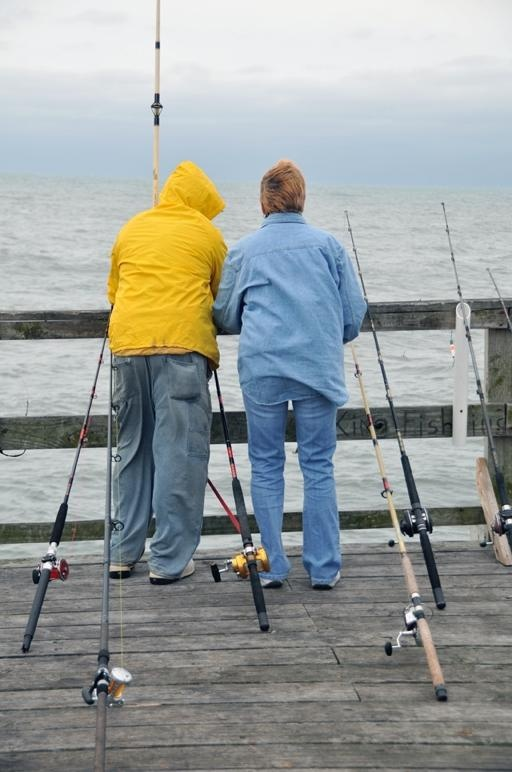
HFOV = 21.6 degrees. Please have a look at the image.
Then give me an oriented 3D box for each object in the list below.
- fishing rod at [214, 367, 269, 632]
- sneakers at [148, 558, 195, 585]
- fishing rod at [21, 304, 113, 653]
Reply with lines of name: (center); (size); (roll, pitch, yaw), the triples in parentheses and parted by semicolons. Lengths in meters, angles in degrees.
fishing rod: (-0.043, 0.338, 4.075); (0.125, 0.124, 0.887); (4, 43, -19)
sneakers: (-0.260, 0.586, 4.229); (0.056, 0.068, 0.157); (8, 13, 29)
fishing rod: (-0.484, 0.185, 3.899); (0.123, 1.167, 0.139); (27, -29, -28)
